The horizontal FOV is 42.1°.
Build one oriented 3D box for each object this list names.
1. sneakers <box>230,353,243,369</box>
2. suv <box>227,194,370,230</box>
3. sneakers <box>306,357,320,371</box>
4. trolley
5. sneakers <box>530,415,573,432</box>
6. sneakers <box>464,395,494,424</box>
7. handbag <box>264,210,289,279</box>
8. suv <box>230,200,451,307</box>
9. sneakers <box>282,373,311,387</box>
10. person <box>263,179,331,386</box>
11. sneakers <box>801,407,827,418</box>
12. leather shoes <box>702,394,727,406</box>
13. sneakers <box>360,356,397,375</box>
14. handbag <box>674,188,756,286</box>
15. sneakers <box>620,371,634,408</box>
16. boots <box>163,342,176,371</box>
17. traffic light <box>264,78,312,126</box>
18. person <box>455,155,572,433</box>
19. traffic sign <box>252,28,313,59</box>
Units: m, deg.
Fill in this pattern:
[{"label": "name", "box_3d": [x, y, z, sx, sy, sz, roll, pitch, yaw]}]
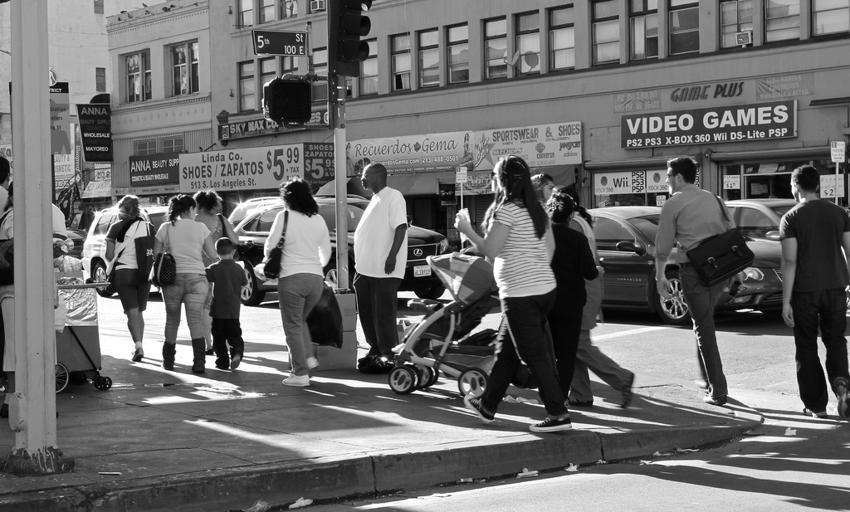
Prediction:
[{"label": "sneakers", "box_3d": [-2.613, 1.471, 15.429, 0.144, 0.225, 0.227, 9, 6, -2]}, {"label": "suv", "box_3d": [-3.349, -1.080, 24.814, 2.666, 0.960, 1.221, -4, -1, 22]}, {"label": "sneakers", "box_3d": [-1.465, 1.443, 14.600, 0.180, 0.126, 0.148, -3, 3, -6]}, {"label": "trolley", "box_3d": [-4.306, 1.054, 13.885, 0.644, 1.062, 0.648, -4, 2, -26]}, {"label": "sneakers", "box_3d": [1.429, 1.888, 12.365, 0.490, 0.185, 0.175, 1, -1, 6]}, {"label": "sneakers", "box_3d": [0.625, 1.756, 12.758, 0.205, 0.173, 0.468, -24, 26, -7]}, {"label": "handbag", "box_3d": [-1.883, -0.096, 14.422, 0.242, 0.669, 0.397, 15, -8, -10]}, {"label": "suv", "box_3d": [-1.990, -0.148, 23.507, 4.594, 1.849, 2.096, -2, -1, 36]}, {"label": "sneakers", "box_3d": [-1.643, 1.617, 14.290, 0.332, 0.125, 0.152, 1, -1, 27]}, {"label": "person", "box_3d": [-1.644, 0.343, 14.478, 0.486, 2.681, 0.824, -1, 2, 39]}, {"label": "sneakers", "box_3d": [4.757, 1.935, 13.538, 0.103, 0.101, 0.278, -3, 8, -37]}, {"label": "leather shoes", "box_3d": [3.610, 1.797, 13.788, 0.116, 0.129, 0.309, -4, 6, -27]}, {"label": "sneakers", "box_3d": [-0.672, 1.507, 15.078, 0.565, 0.233, 0.202, -2, -5, 18]}, {"label": "handbag", "box_3d": [3.670, -0.254, 13.927, 0.674, 1.015, 0.513, -37, -11, 22]}, {"label": "sneakers", "box_3d": [2.459, 1.637, 13.490, 0.187, 0.427, 0.141, 3, 3, 1]}, {"label": "boots", "box_3d": [-3.520, 1.390, 15.270, 0.150, 0.281, 0.237, -3, 2, -15]}, {"label": "traffic light", "box_3d": [-1.929, -2.196, 15.579, 0.752, 0.675, 0.428, -4, 5, -32]}, {"label": "person", "box_3d": [1.034, 0.416, 12.460, 1.067, 3.109, 0.594, -3, 2, 5]}, {"label": "traffic sign", "box_3d": [-2.767, -4.148, 21.316, 0.990, 0.552, 0.695, -3, 2, -8]}]
